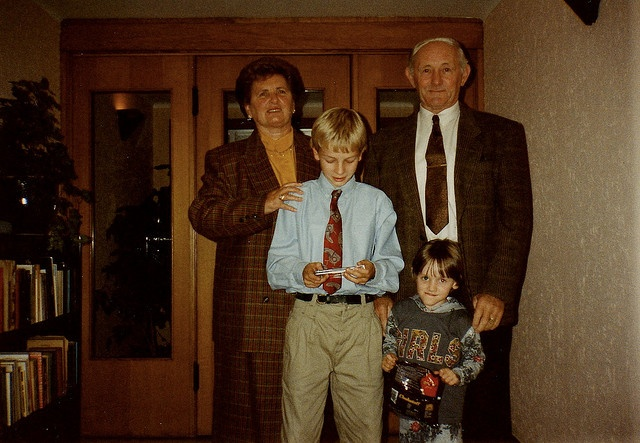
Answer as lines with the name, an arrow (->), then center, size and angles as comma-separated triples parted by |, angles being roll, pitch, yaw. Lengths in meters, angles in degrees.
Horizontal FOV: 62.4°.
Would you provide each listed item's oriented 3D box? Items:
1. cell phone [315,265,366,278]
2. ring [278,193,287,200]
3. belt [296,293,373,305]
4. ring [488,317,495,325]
cell phone -> 0.097, 0.227, 2.435 | 0.158, 0.031, 0.053 | -3, 17, 2
ring -> -0.180, -0.129, 2.582 | 0.041, 0.025, 0.019 | -2, -32, 23
belt -> 0.058, 0.363, 2.513 | 0.317, 0.042, 0.051 | -1, 0, 0
ring -> 0.822, 0.474, 2.542 | 0.025, 0.025, 0.006 | 8, -4, -16
